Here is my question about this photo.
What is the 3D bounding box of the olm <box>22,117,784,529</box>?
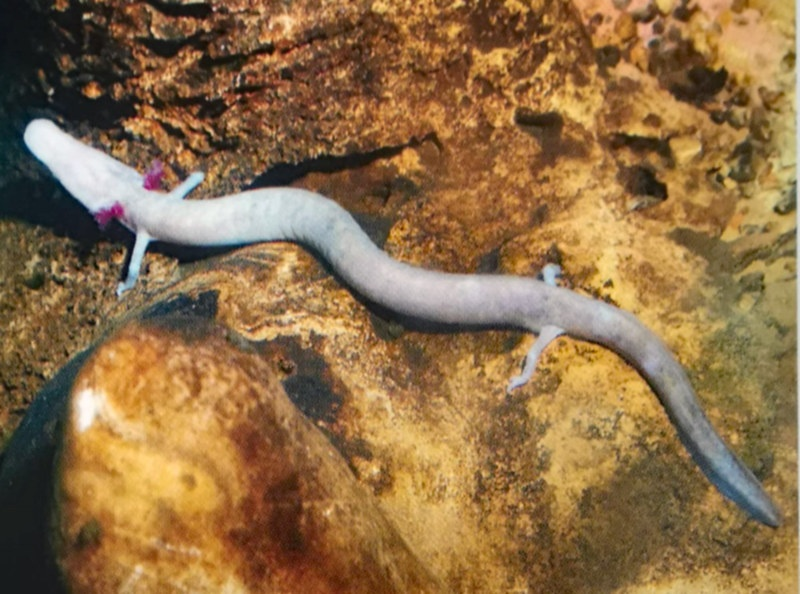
[{"bbox_3d":[-0.056,-0.001,5.252,3.318,0.354,0.506,21,68,2],"label":"olm"}]
